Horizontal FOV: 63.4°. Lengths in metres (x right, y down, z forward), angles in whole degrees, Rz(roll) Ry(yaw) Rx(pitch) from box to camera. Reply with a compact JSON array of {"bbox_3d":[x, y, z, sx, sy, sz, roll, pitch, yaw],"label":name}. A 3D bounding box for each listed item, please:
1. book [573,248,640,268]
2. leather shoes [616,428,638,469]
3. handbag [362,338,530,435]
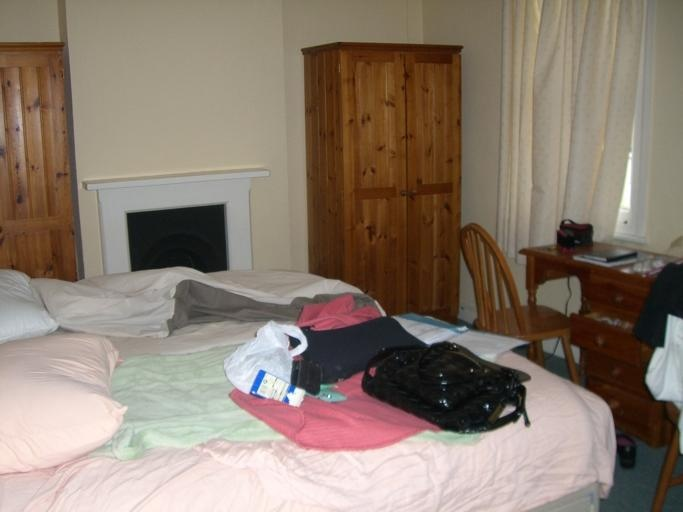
[{"bbox_3d":[1.424,0.008,2.954,0.307,0.052,0.203,-1,13,1],"label":"book"},{"bbox_3d":[1.421,0.959,2.762,0.090,0.054,0.178,-7,47,19],"label":"leather shoes"},{"bbox_3d":[0.454,0.432,2.182,0.597,0.129,0.609,27,14,39],"label":"handbag"}]
